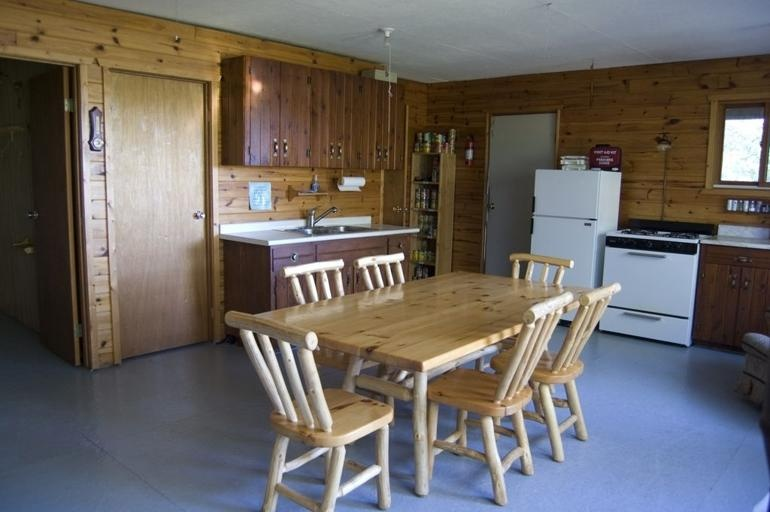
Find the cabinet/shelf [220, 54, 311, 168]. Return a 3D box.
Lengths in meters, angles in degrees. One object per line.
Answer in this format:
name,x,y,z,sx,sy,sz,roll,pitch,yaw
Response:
cabinet/shelf,-1.213,-1.472,5.547,0.958,1.073,0.480,-4,14,-14

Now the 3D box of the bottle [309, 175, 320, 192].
bottle,-0.829,-0.851,6.316,0.103,0.194,0.192,-1,13,3

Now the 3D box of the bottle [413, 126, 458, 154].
bottle,0.717,-1.619,7.530,0.554,0.319,0.393,4,10,24

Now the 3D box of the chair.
chair,0.177,0.862,3.625,2.203,1.305,1.352,-9,15,-32

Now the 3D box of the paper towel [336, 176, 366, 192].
paper towel,-0.380,-0.890,6.638,0.282,0.211,0.532,6,14,29

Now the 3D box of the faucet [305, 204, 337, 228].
faucet,-0.717,-0.471,6.370,0.247,0.224,0.563,6,14,30

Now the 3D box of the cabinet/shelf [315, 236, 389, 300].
cabinet/shelf,-0.462,0.226,6.059,0.372,0.811,0.934,0,9,24

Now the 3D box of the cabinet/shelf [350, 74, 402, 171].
cabinet/shelf,-0.288,-1.615,6.679,0.456,1.168,1.315,9,18,16

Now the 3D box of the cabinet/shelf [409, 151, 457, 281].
cabinet/shelf,0.677,-0.679,7.594,0.388,1.415,0.339,3,2,18

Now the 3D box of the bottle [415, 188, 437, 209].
bottle,0.562,-0.804,7.458,0.296,0.269,0.213,-2,13,-3
